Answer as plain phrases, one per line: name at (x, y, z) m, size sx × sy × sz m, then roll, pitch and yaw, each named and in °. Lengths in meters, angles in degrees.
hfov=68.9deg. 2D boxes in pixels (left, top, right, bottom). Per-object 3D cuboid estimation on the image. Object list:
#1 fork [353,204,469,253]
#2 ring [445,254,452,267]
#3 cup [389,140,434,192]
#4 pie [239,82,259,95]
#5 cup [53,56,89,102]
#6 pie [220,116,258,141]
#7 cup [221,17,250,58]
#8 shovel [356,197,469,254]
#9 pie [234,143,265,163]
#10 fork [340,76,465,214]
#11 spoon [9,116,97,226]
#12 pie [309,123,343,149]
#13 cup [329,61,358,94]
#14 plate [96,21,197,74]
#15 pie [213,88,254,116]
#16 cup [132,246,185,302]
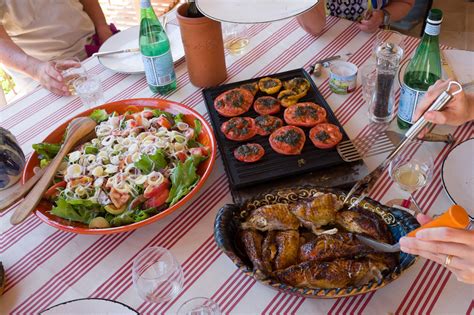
fork at (0.549, 0.233, 1.107) m, size 0.054 × 0.233 × 0.055 m, roll 45°, pitch 34°, yaw -19°
ring at (0.667, 0.328, 1.088) m, size 0.006 × 0.032 × 0.031 m, roll 20°, pitch 28°, yaw 28°
cup at (0.667, 0.042, 1.343) m, size 0.149 × 0.144 × 0.195 m, roll 8°, pitch 76°, yaw 17°
pie at (0.070, -0.355, 1.723) m, size 0.066 × 0.030 × 0.071 m, roll -30°, pitch 47°, yaw -25°
cup at (-0.905, -0.440, 1.959) m, size 0.180 × 0.199 × 0.195 m, roll -5°, pitch 44°, yaw 5°
pie at (0.010, -0.131, 1.558) m, size 0.128 × 0.046 × 0.110 m, roll -7°, pitch 63°, yaw -5°
cup at (-0.010, -0.734, 2.105) m, size 0.160 × 0.202 × 0.174 m, roll -7°, pitch 28°, yaw 4°
shovel at (0.572, 0.228, 1.130) m, size 0.058 × 0.250 × 0.060 m, roll 45°, pitch 39°, yaw -15°
pie at (0.058, -0.022, 1.477) m, size 0.094 × 0.024 × 0.080 m, roll 11°, pitch 59°, yaw 8°
fork at (0.679, -0.037, 1.385) m, size 0.800 × 0.088 × 0.094 m, roll -46°, pitch 72°, yaw 23°
spoon at (-0.727, 0.027, 1.483) m, size 0.118 × 0.091 × 0.645 m, roll 28°, pitch 44°, yaw -13°
pie at (0.433, -0.107, 1.581) m, size 0.200 × 0.214 × 0.074 m, roll 14°, pitch 96°, yaw 10°
cup at (0.542, -0.409, 1.755) m, size 0.129 × 0.103 × 0.138 m, roll -5°, pitch 40°, yaw 4°
plate at (-0.610, -0.598, 1.996) m, size 0.361 × 0.053 × 0.381 m, roll 26°, pitch 55°, yaw 21°
pie at (-0.012, -0.261, 1.716) m, size 0.184 × 0.246 × 0.080 m, roll -4°, pitch 66°, yaw 2°
cup at (-0.274, 0.414, 1.250) m, size 0.160 × 0.164 × 0.181 m, roll 8°, pitch 87°, yaw 33°
